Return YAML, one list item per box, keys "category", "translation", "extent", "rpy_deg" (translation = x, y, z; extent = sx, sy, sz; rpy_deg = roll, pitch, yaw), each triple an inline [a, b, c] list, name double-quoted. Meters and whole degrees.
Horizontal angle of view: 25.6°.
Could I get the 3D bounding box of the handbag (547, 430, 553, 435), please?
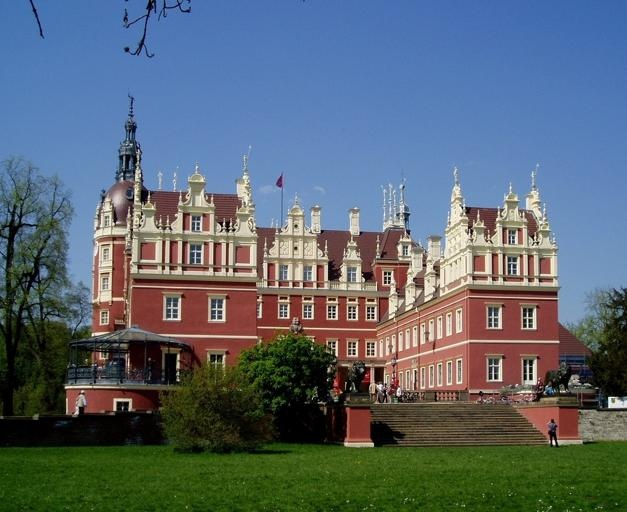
- category: "handbag"
  translation: [11.708, 8.692, 67.761]
  extent: [0.265, 0.175, 0.242]
  rpy_deg: [0, -9, -4]
